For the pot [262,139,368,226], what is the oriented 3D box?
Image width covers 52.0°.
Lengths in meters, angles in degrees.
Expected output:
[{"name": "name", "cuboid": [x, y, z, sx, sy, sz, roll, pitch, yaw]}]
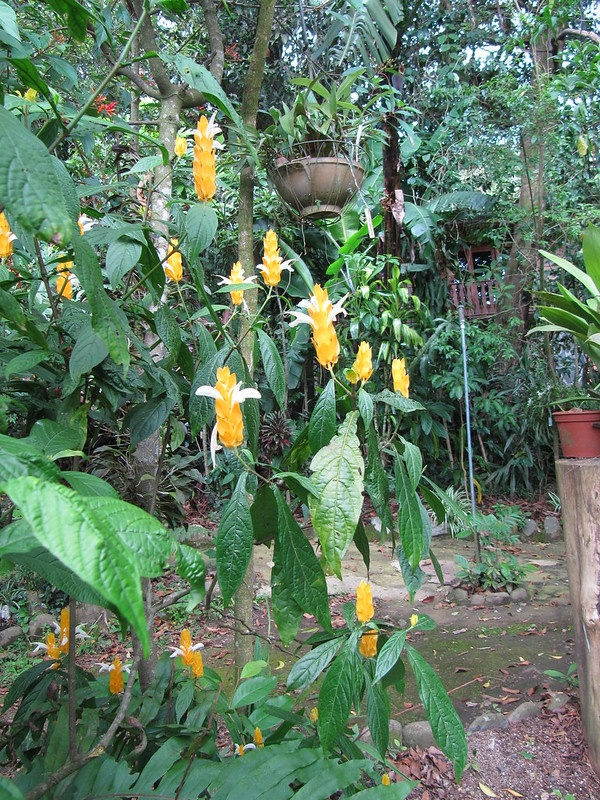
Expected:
[{"name": "pot", "cuboid": [0.059, -0.831, 2.385, 0.247, 0.118, 0.238, -2, -1, 0]}]

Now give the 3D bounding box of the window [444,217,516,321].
[{"name": "window", "cuboid": [1.855, -1.337, 6.560, 0.527, 0.840, 1.010, -3, -2, 18]}]
